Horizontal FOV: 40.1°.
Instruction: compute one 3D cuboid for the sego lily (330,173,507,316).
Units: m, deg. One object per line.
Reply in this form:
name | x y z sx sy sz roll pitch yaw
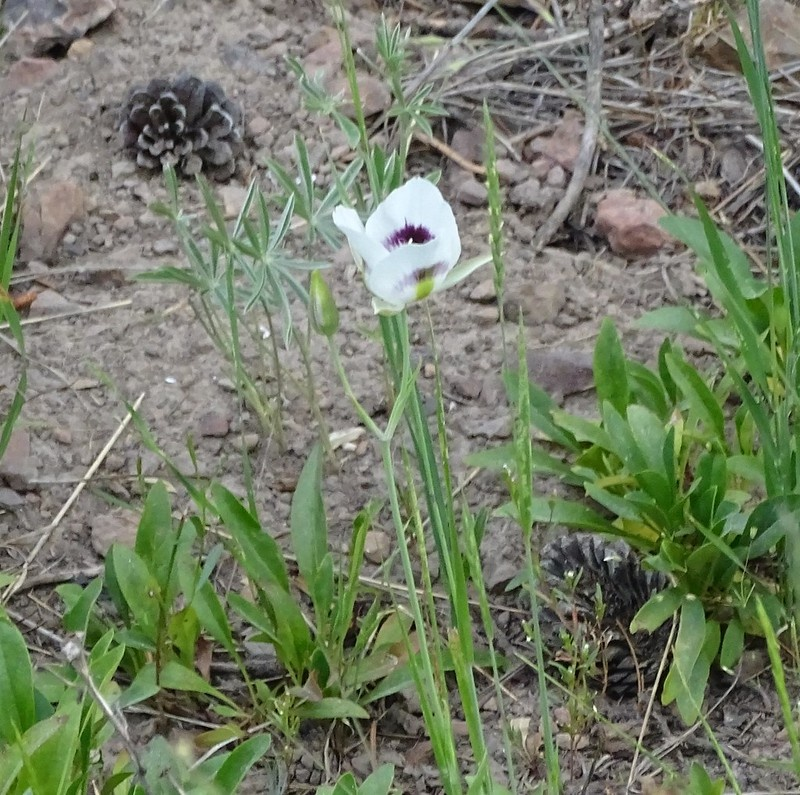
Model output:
sego lily | 0.021 -0.172 1.250 0.142 0.139 0.176 -12 57 -33
